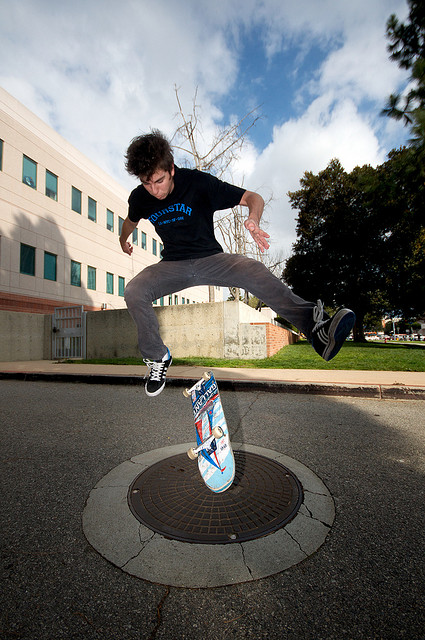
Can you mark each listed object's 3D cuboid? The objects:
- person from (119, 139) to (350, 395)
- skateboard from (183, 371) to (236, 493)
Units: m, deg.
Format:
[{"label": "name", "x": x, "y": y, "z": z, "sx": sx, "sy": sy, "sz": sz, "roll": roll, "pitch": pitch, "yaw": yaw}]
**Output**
[{"label": "person", "x": -0.066, "y": -0.335, "z": 3.057, "sx": 1.631, "sy": 1.459, "sz": 0.743, "roll": -2, "pitch": -1, "yaw": 18}, {"label": "skateboard", "x": -0.010, "y": 0.629, "z": 2.313, "sx": 0.319, "sy": 0.590, "sz": 0.424, "roll": -2, "pitch": 14, "yaw": -24}]
